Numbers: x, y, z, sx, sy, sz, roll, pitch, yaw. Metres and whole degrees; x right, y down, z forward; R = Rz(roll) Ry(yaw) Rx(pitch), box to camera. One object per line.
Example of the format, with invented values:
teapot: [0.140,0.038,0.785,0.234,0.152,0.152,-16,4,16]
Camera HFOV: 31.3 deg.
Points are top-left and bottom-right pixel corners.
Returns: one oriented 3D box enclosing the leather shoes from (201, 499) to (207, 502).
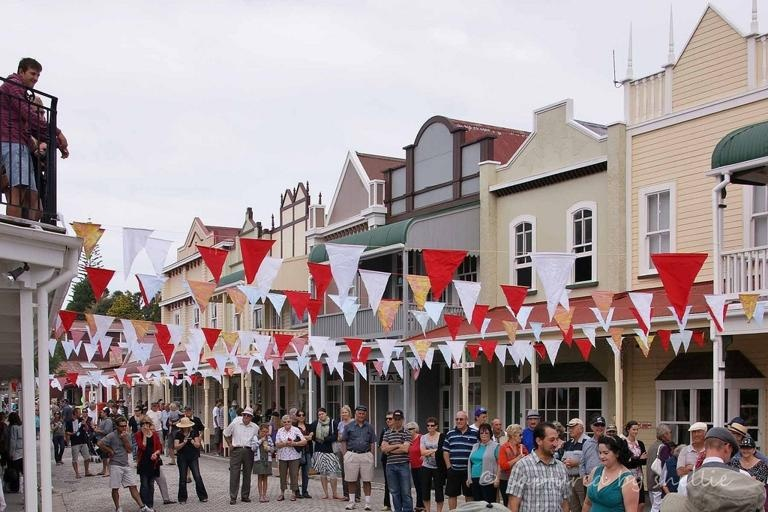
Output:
leather shoes: [-4.280,5.792,32.667,0.050,0.061,0.138,5,-28,-31]

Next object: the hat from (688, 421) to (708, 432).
hat: [5.812,3.119,25.199,0.410,0.160,0.299,1,-7,-27]

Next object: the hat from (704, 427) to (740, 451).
hat: [5.393,2.869,21.848,0.665,0.328,0.311,7,-13,-31]

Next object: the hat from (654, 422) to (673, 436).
hat: [5.739,3.570,28.259,0.241,0.265,0.440,-2,-12,7]

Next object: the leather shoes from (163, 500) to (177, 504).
leather shoes: [-5.072,5.784,32.415,0.339,0.147,0.114,1,0,-8]

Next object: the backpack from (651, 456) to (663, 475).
backpack: [5.557,4.212,28.017,0.245,0.462,0.473,2,-2,5]

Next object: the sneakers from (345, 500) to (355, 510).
sneakers: [-0.785,5.709,31.531,0.120,0.134,0.313,-3,-15,15]

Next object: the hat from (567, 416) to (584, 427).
hat: [3.922,3.368,27.849,0.301,0.194,0.451,-11,-14,42]

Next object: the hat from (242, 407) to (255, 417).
hat: [-3.239,3.661,32.607,0.252,0.136,0.352,6,-30,5]

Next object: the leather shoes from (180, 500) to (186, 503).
leather shoes: [-4.788,5.771,32.416,0.159,0.074,0.143,3,-12,-15]

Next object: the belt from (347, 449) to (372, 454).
belt: [-0.580,4.464,31.692,0.537,0.125,0.186,0,-12,-1]
